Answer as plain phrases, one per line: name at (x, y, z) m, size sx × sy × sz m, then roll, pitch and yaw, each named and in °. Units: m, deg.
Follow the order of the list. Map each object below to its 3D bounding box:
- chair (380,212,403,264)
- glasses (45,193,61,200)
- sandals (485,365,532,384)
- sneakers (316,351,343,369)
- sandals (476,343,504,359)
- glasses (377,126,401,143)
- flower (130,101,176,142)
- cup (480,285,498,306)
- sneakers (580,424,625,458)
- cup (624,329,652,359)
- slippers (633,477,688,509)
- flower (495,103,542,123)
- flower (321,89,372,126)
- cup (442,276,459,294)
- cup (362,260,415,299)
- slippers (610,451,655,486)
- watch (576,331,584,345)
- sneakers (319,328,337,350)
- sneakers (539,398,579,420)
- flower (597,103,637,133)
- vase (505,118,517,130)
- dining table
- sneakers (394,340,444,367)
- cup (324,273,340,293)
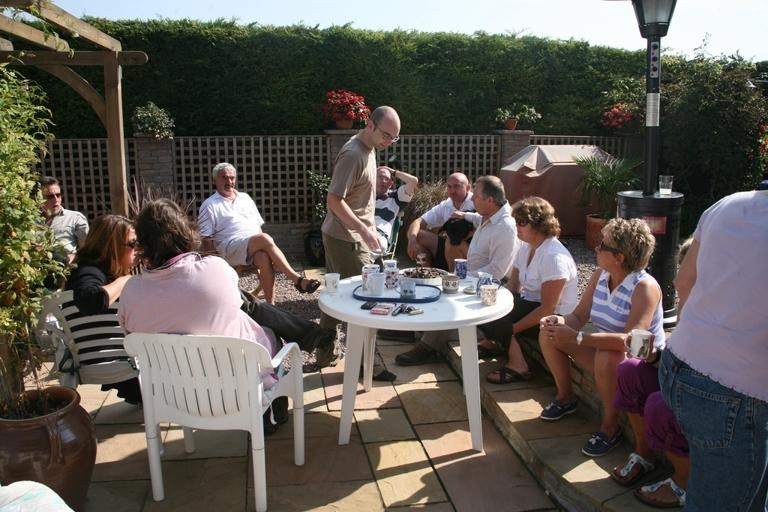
chair at (0.100, -0.199, 6.761) m, size 0.392 × 0.559 × 0.306 m, roll 0°, pitch 5°, yaw -29°
glasses at (-3.543, -0.652, 6.494) m, size 0.084 × 0.041 × 0.101 m, roll -2°, pitch -7°, yaw -18°
sandals at (1.094, 1.032, 5.302) m, size 0.301 × 0.115 × 0.163 m, roll 0°, pitch 1°, yaw 0°
sneakers at (-0.492, 0.907, 5.310) m, size 0.239 × 0.110 × 0.249 m, roll -1°, pitch -4°, yaw 3°
sandals at (1.006, 0.902, 5.714) m, size 0.289 × 0.085 × 0.116 m, roll 1°, pitch 5°, yaw -9°
glasses at (0.060, -1.135, 5.670) m, size 0.119 × 0.117 × 0.331 m, roll 2°, pitch 10°, yaw 25°
flower at (-4.018, -2.330, 10.497) m, size 0.642 × 0.646 × 0.387 m, roll -5°, pitch 9°, yaw -13°
cup at (0.808, 0.294, 4.644) m, size 0.121 × 0.134 × 0.155 m, roll 1°, pitch 0°, yaw 3°
sneakers at (1.559, 1.351, 4.343) m, size 0.314 × 0.122 × 0.131 m, roll -27°, pitch 18°, yaw -14°
cup at (1.666, 0.570, 4.002) m, size 0.133 × 0.209 × 0.207 m, roll -4°, pitch 9°, yaw -41°
slippers at (1.812, 1.531, 3.919) m, size 0.253 × 0.108 × 0.160 m, roll 0°, pitch 4°, yaw 4°
flower at (2.921, -3.056, 12.885) m, size 1.043 × 0.436 × 0.943 m, roll -3°, pitch 9°, yaw 0°
flower at (-0.712, -2.749, 11.184) m, size 0.754 × 0.596 × 0.767 m, roll -3°, pitch 27°, yaw -30°
cup at (0.535, 0.230, 4.926) m, size 0.131 × 0.137 × 0.134 m, roll 1°, pitch -2°, yaw 0°
cup at (0.017, 0.178, 4.806) m, size 0.243 × 0.193 × 0.408 m, roll 3°, pitch 6°, yaw 20°
slippers at (1.682, 1.427, 4.107) m, size 0.294 × 0.122 × 0.141 m, roll -6°, pitch 8°, yaw -35°
watch at (1.424, 0.594, 4.426) m, size 0.048 × 0.088 × 0.088 m, roll 11°, pitch -19°, yaw 27°
sneakers at (-0.465, 0.683, 5.078) m, size 0.139 × 0.157 × 0.178 m, roll 0°, pitch -11°, yaw 3°
sneakers at (1.374, 1.206, 4.745) m, size 0.340 × 0.136 × 0.124 m, roll -13°, pitch 12°, yaw -14°
flower at (4.888, -2.828, 12.572) m, size 0.570 × 0.576 × 0.654 m, roll 13°, pitch 15°, yaw 38°
vase at (2.648, -2.740, 12.540) m, size 0.236 × 0.188 × 0.242 m, roll 4°, pitch 9°, yaw 35°
dining table at (0.213, 0.729, 5.027) m, size 1.297 × 0.896 × 1.344 m, roll 0°, pitch 0°, yaw 0°
sneakers at (0.364, 0.966, 6.048) m, size 0.481 × 0.220 × 0.209 m, roll 1°, pitch 1°, yaw -16°
cup at (-0.422, 0.212, 5.037) m, size 0.123 × 0.142 × 0.132 m, roll 0°, pitch -2°, yaw 0°
